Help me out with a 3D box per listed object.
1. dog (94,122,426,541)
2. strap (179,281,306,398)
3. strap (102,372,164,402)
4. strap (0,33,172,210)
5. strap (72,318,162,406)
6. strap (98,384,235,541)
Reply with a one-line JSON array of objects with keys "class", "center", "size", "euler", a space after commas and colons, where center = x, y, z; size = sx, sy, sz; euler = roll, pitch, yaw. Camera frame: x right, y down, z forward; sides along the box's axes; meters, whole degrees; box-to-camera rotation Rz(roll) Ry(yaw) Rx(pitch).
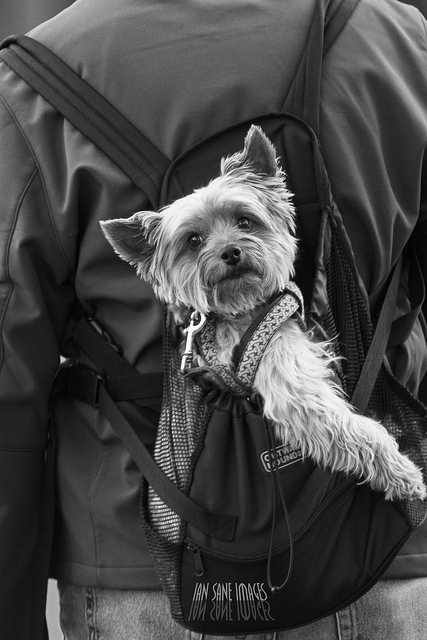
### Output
[{"class": "dog", "center": [0.048, -0.020, 1.373], "size": [0.591, 0.329, 0.821], "euler": [-10, 91, -4]}, {"class": "strap", "center": [0.067, 0.045, 1.182], "size": [0.180, 0.103, 0.223], "euler": [3, 83, -8]}, {"class": "strap", "center": [-0.169, 0.141, 1.302], "size": [0.101, 0.027, 0.064], "euler": [-8, 29, 29]}, {"class": "strap", "center": [-0.291, -0.411, 1.383], "size": [0.400, 0.104, 0.284], "euler": [41, 67, -3]}, {"class": "strap", "center": [-0.191, 0.074, 1.396], "size": [0.228, 0.124, 0.056], "euler": [45, 40, 10]}, {"class": "strap", "center": [-0.096, 0.285, 1.230], "size": [0.168, 0.064, 0.279], "euler": [-35, 73, 2]}]
